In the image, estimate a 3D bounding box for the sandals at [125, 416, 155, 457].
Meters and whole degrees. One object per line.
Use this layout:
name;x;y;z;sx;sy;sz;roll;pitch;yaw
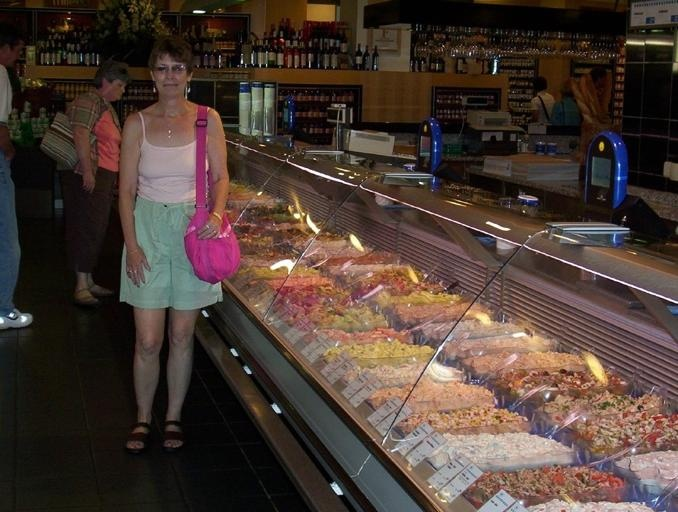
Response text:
sandals;-1.107;0.984;2.661;0.084;0.061;0.229;1;4;-5

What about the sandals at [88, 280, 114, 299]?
sandals;-2.426;0.354;4.965;0.293;0.123;0.105;2;12;-1

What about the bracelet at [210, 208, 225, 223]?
bracelet;-0.607;-0.198;2.434;0.056;0.023;0.061;42;-2;29

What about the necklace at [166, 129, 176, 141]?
necklace;-0.843;-0.593;2.411;0.060;0.055;0.013;2;-3;-8

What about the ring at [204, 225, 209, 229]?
ring;-0.646;-0.140;2.355;0.005;0.018;0.019;-3;2;32

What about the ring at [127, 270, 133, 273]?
ring;-1.059;0.079;2.451;0.015;0.007;0.019;7;7;-17
